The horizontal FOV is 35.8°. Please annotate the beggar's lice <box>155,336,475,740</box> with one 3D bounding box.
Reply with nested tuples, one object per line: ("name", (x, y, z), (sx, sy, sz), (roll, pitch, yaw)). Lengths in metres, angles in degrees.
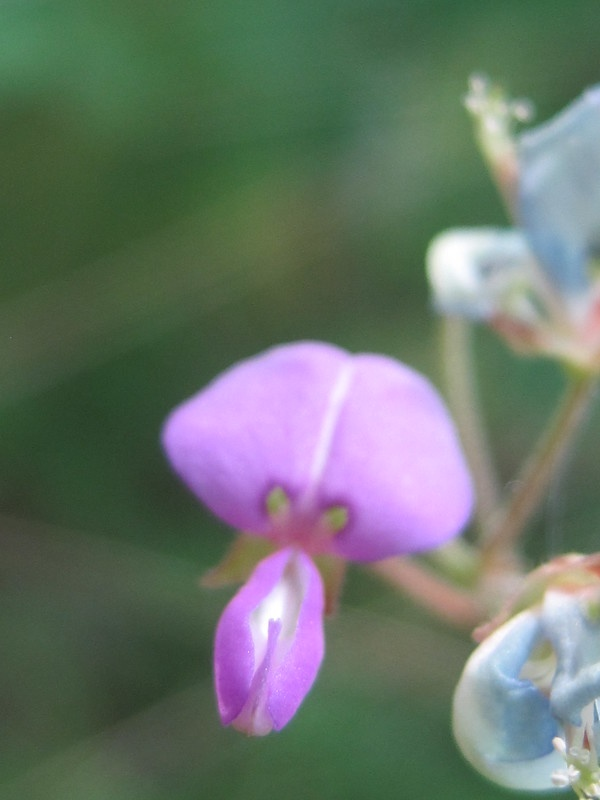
("beggar's lice", (0.032, 0.074, 0.764), (0.277, 0.289, 0.136), (17, 17, 14))
